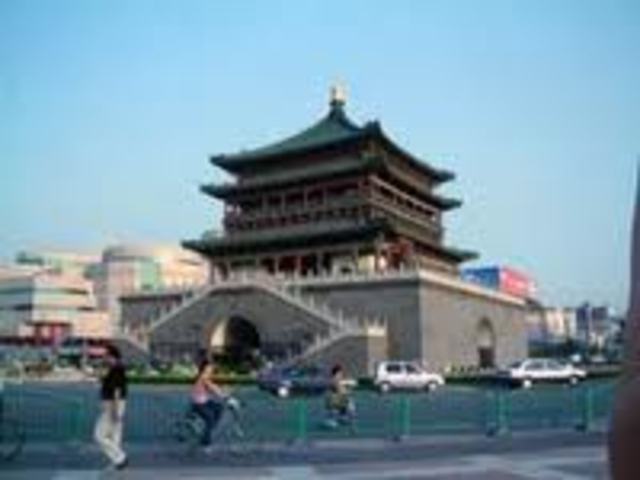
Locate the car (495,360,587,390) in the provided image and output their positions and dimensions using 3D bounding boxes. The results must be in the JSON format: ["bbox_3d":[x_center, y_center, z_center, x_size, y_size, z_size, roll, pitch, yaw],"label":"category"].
[{"bbox_3d":[12.105,7.174,52.259,4.885,1.653,2.278,-2,-6,-11],"label":"car"}]

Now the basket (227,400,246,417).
[{"bbox_3d":[-3.062,6.018,34.947,0.517,0.569,0.763,0,-10,6],"label":"basket"}]
